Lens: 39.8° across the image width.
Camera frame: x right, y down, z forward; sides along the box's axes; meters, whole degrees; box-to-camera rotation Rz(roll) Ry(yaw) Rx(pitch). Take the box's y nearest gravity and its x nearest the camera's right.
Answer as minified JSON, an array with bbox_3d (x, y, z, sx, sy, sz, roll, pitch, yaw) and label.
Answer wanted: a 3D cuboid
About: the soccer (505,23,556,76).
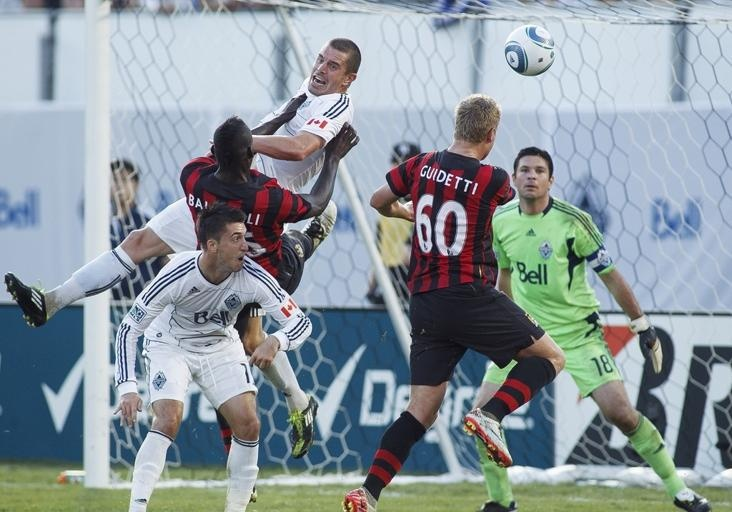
[{"bbox_3d":[1.455,-1.730,8.644,0.384,0.439,0.412,-1,13,-44],"label":"soccer"}]

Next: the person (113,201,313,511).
[{"bbox_3d":[-1.193,0.763,7.556,1.335,2.304,0.725,3,2,-13],"label":"person"}]

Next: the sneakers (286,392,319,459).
[{"bbox_3d":[-0.551,1.422,8.476,0.174,0.592,0.270,5,5,32],"label":"sneakers"}]

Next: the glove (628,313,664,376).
[{"bbox_3d":[2.316,0.719,8.370,0.259,0.374,0.286,4,2,16],"label":"glove"}]
